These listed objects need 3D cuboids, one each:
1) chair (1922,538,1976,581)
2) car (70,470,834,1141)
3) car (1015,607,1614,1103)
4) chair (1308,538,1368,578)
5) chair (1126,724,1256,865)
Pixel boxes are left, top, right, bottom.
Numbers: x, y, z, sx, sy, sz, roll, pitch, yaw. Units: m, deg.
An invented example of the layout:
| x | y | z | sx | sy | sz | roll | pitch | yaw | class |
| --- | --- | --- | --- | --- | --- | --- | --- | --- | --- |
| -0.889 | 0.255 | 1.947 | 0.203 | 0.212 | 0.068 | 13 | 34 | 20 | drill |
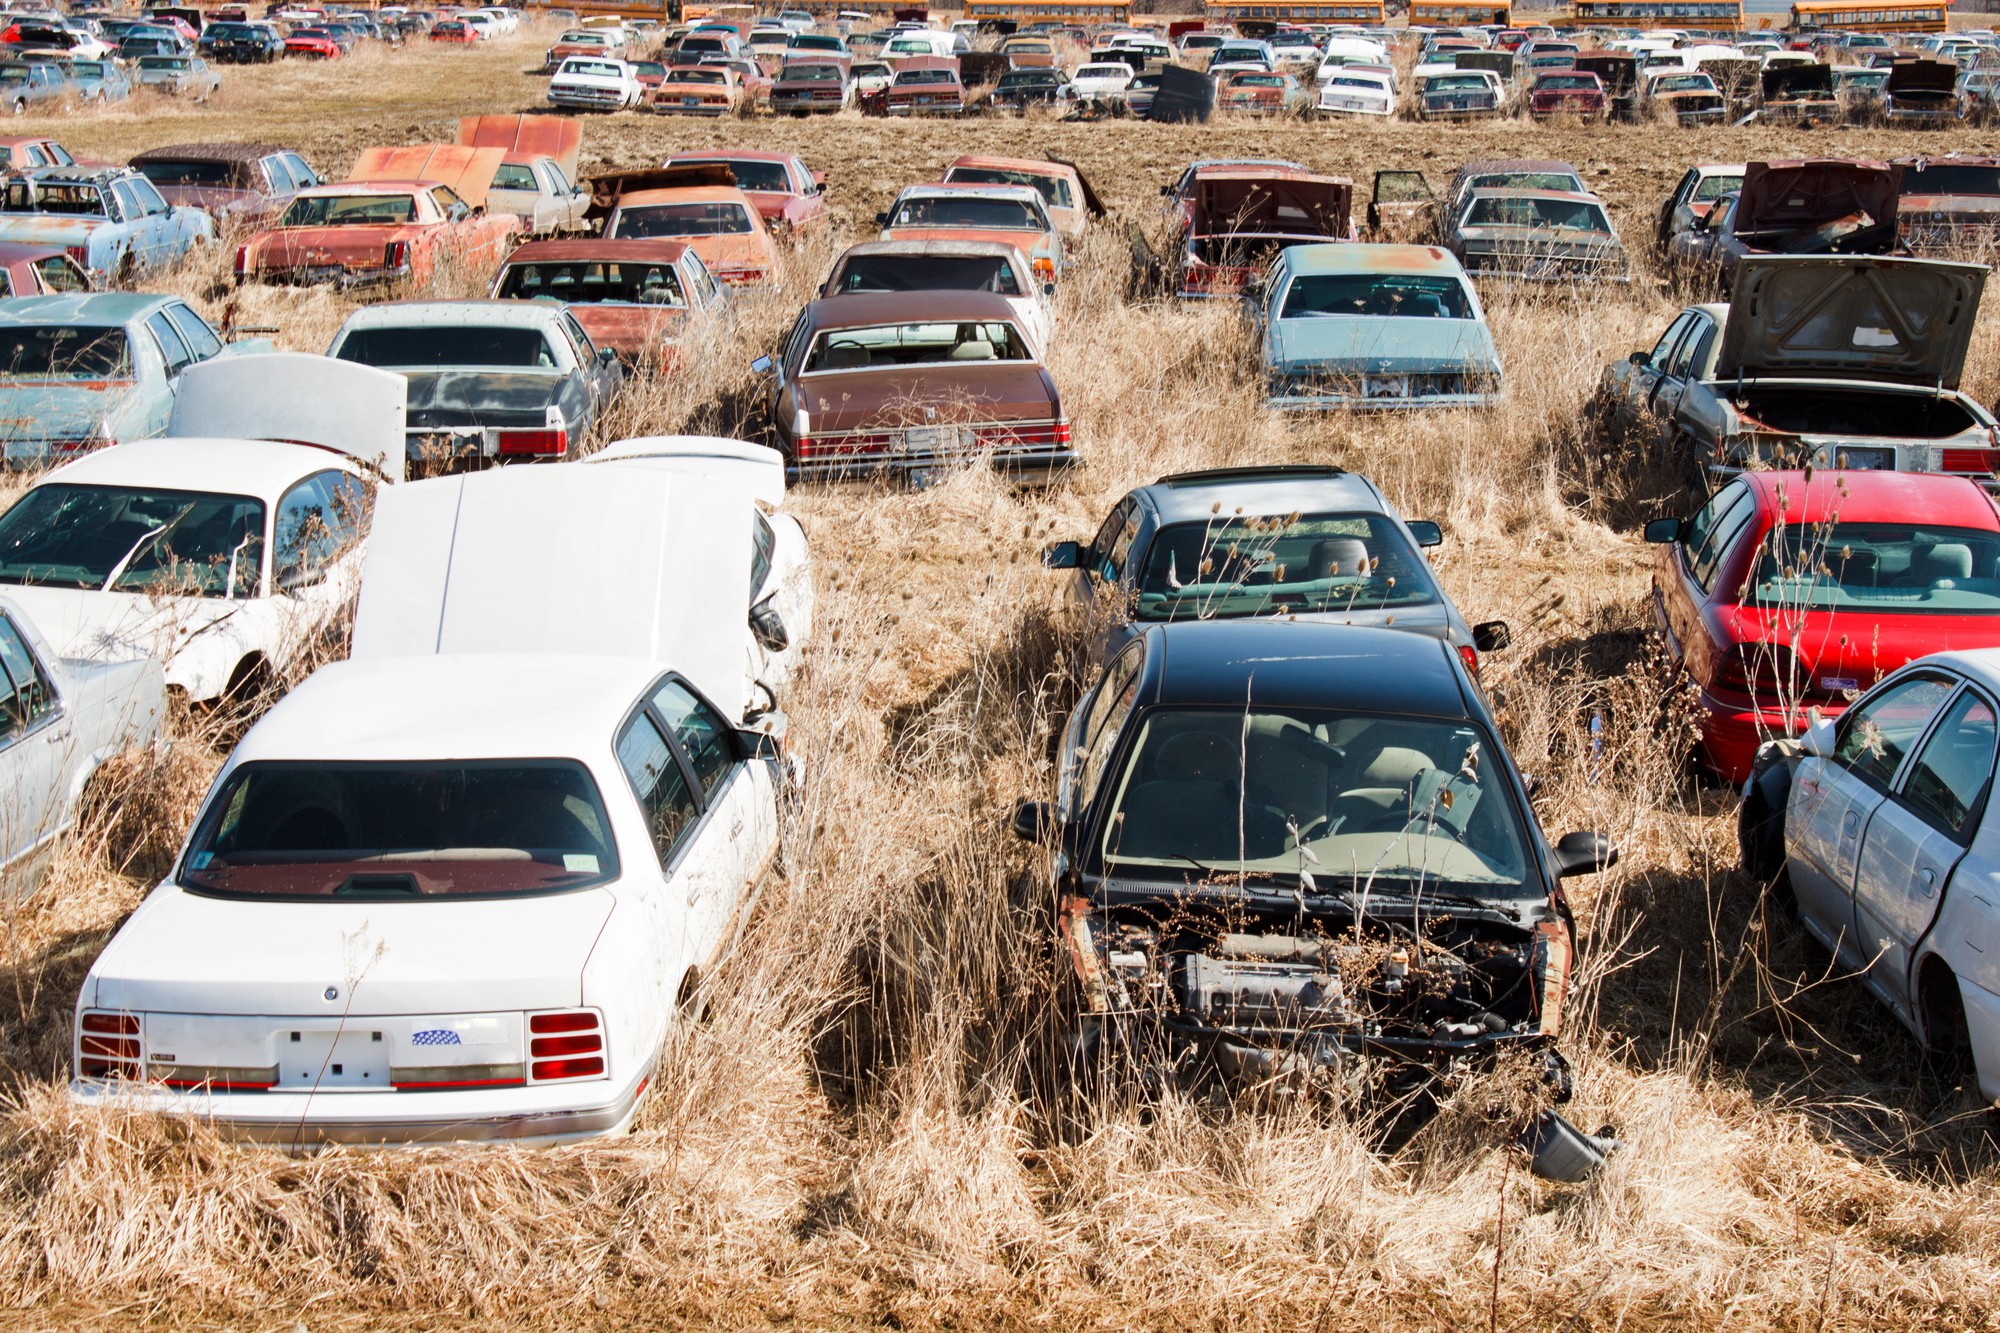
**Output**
| x | y | z | sx | sy | sz | roll | pitch | yaw | class |
| --- | --- | --- | --- | --- | --- | --- | --- | --- | --- |
| 5.775 | -0.657 | 11.772 | 0.211 | 0.251 | 0.232 | 1 | 11 | 11 | chair |
| -2.452 | 1.001 | 10.129 | 1.941 | 1.978 | 3.965 | 3 | 34 | 3 | car |
| 1.540 | 0.595 | 10.740 | 2.585 | 1.985 | 4.465 | 1 | 24 | 8 | car |
| 2.065 | -0.667 | 11.717 | 0.230 | 0.184 | 0.252 | 0 | 12 | -2 | chair |
| 0.877 | 0.581 | 9.153 | 0.402 | 0.790 | 0.207 | 5 | -20 | 1 | chair |
